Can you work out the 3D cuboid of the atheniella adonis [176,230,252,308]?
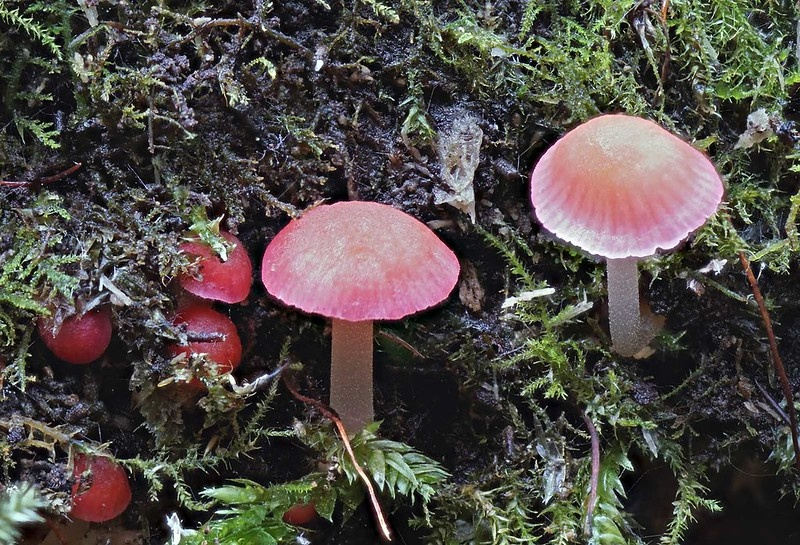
[{"bbox_3d":[-0.975,-0.015,4.026,0.363,0.244,0.229,1,33,-15],"label":"atheniella adonis"}]

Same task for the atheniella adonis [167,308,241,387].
[{"bbox_3d":[-1.042,0.346,4.094,0.360,0.254,0.247,15,32,7],"label":"atheniella adonis"}]

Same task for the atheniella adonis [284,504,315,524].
[{"bbox_3d":[-0.552,1.344,4.215,0.144,0.083,0.146,-7,-2,-12],"label":"atheniella adonis"}]
